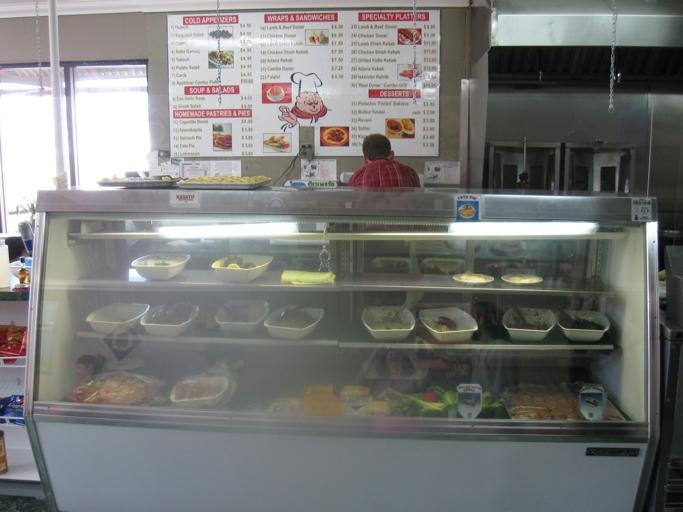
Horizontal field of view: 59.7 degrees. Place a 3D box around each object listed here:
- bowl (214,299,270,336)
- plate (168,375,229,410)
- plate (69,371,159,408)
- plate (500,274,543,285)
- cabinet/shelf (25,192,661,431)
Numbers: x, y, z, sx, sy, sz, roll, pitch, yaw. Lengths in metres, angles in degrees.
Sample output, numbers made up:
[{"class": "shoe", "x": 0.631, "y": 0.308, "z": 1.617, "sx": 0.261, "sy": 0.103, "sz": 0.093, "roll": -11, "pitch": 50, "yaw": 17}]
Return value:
[{"class": "bowl", "x": -0.456, "y": 0.291, "z": 2.891, "sx": 0.262, "sy": 0.089, "sz": 0.289, "roll": 1, "pitch": 6, "yaw": -2}, {"class": "plate", "x": -0.660, "y": 0.623, "z": 2.744, "sx": 0.211, "sy": 0.047, "sz": 0.129, "roll": -8, "pitch": 39, "yaw": -7}, {"class": "plate", "x": -1.055, "y": 0.614, "z": 2.746, "sx": 0.258, "sy": 0.055, "sz": 0.166, "roll": 1, "pitch": 31, "yaw": -6}, {"class": "plate", "x": 0.821, "y": 0.109, "z": 2.708, "sx": 0.179, "sy": 0.049, "sz": 0.021, "roll": 0, "pitch": 13, "yaw": 10}, {"class": "cabinet/shelf", "x": -0.018, "y": 0.200, "z": 3.095, "sx": 2.920, "sy": 1.007, "sz": 0.879, "roll": 0, "pitch": 1, "yaw": 8}]
